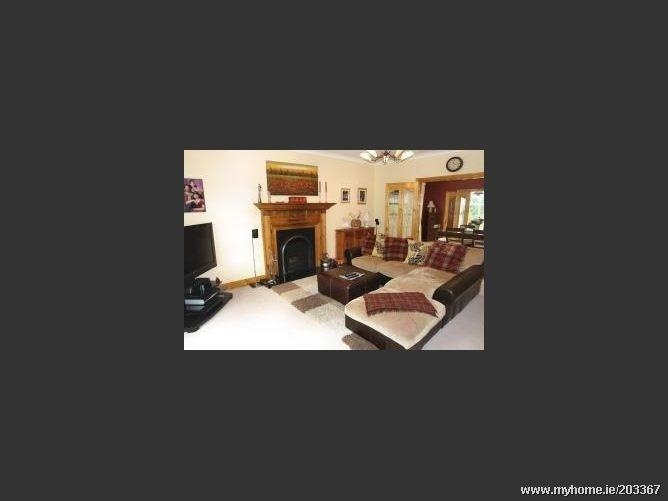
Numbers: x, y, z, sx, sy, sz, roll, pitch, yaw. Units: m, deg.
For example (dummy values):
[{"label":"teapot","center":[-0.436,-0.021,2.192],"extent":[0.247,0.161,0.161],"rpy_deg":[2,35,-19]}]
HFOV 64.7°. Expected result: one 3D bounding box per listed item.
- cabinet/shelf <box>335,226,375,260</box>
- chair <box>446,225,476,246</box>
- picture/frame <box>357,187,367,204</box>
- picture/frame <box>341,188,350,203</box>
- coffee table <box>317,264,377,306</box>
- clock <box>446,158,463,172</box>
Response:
[{"label":"cabinet/shelf","center":[0.229,-0.094,6.222],"extent":[0.353,0.321,0.130],"rpy_deg":[-13,19,-38]},{"label":"chair","center":[1.556,-0.192,6.402],"extent":[0.321,0.201,0.318],"rpy_deg":[-5,10,-29]},{"label":"picture/frame","center":[0.370,-0.746,6.968],"extent":[0.013,0.199,0.198],"rpy_deg":[7,12,36]},{"label":"picture/frame","center":[0.144,-0.711,6.642],"extent":[0.012,0.179,0.177],"rpy_deg":[4,8,32]},{"label":"coffee table","center":[0.175,0.279,4.673],"extent":[0.351,0.153,0.374],"rpy_deg":[-14,20,-35]},{"label":"clock","center":[1.360,-0.978,5.929],"extent":[0.083,0.189,0.284],"rpy_deg":[-6,19,-15]}]
